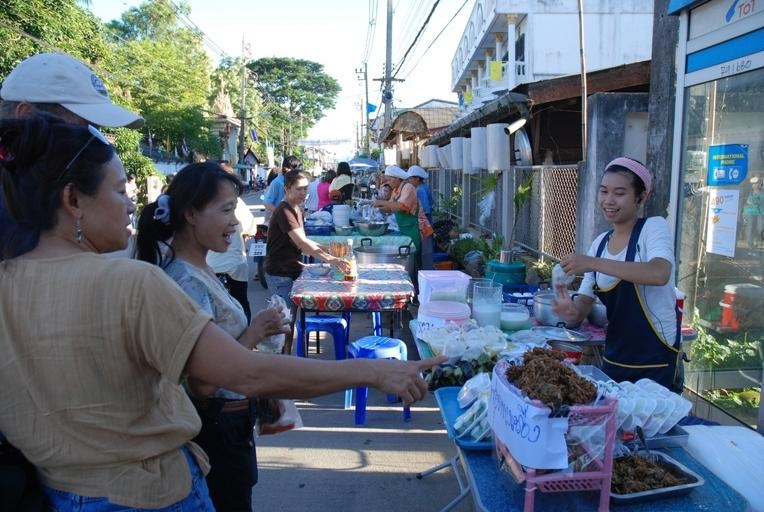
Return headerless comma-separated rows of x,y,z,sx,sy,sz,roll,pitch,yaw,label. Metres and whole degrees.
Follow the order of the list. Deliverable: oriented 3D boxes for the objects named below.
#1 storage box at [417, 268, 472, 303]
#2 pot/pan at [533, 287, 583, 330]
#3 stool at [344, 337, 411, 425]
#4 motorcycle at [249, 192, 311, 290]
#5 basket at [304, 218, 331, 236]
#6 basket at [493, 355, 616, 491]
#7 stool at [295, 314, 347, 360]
0.471,0.221,4.647,0.306,0.263,0.377,1,-1,10,storage box
1.215,0.388,4.395,0.233,0.150,0.298,0,-2,-1,pot/pan
-0.046,1.050,5.214,0.576,0.781,0.521,-1,5,-7,stool
-1.022,-0.152,6.171,0.394,1.044,1.167,4,-3,-45,motorcycle
-0.929,-0.420,8.620,0.320,0.157,0.416,0,3,-3,basket
0.760,0.706,2.724,0.399,0.543,0.460,0,4,-1,basket
-0.559,0.725,5.869,0.466,0.416,0.485,1,-2,2,stool
